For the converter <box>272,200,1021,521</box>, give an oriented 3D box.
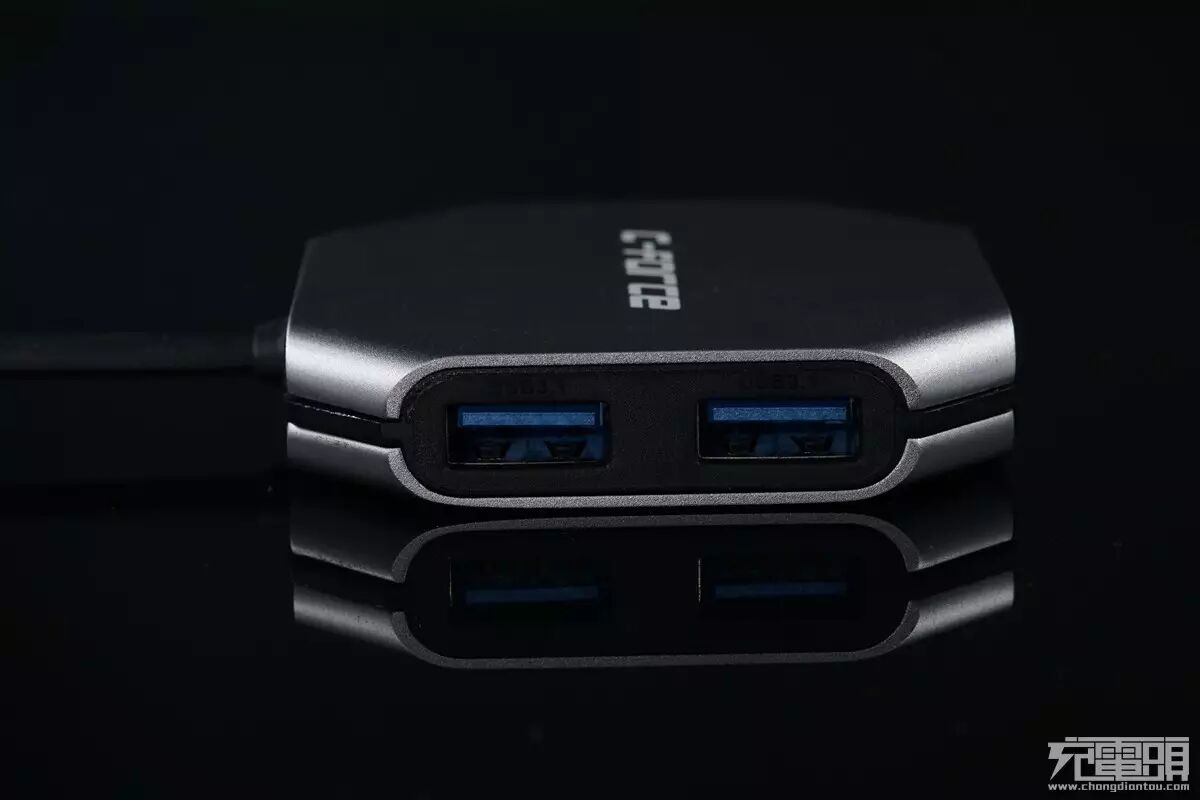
[{"bbox_3d":[0.040,-0.085,1.191,0.658,0.128,0.392,-2,49,0],"label":"converter"}]
